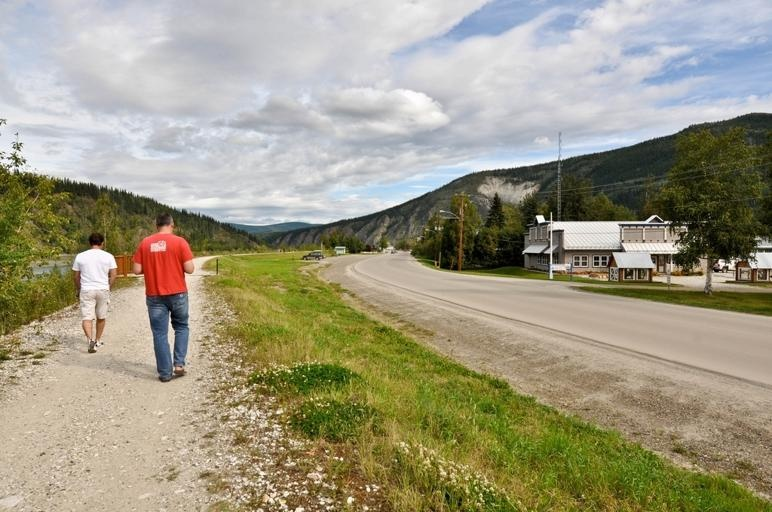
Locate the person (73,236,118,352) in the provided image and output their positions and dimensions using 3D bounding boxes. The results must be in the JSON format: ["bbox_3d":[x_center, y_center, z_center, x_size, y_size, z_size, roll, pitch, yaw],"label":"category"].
[{"bbox_3d":[-8.295,1.041,14.921,0.958,3.285,0.789,-7,9,-42],"label":"person"}]

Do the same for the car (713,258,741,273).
[{"bbox_3d":[35.045,1.174,53.811,2.762,1.160,1.322,-5,3,2],"label":"car"}]

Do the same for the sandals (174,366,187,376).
[{"bbox_3d":[-5.404,3.027,13.633,0.154,0.170,0.367,1,-4,-7],"label":"sandals"}]

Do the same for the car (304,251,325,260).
[{"bbox_3d":[-11.894,0.252,84.924,2.540,1.307,1.717,6,-1,3],"label":"car"}]

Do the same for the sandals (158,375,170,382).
[{"bbox_3d":[-5.680,3.147,13.425,0.305,0.153,0.189,-3,7,-23],"label":"sandals"}]
